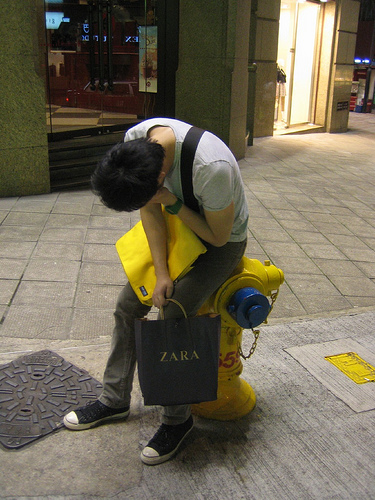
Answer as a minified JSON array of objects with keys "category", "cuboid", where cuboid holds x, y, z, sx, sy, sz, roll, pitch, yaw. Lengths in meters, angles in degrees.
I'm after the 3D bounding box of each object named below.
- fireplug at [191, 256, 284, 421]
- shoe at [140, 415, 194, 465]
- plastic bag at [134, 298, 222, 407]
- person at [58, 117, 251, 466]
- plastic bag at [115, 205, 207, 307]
[{"category":"fireplug","cuboid":[0.310,0.391,1.898,0.549,0.728,0.508,0,24,-20]},{"category":"shoe","cuboid":[-0.066,0.753,1.512,0.089,0.125,0.317,11,14,32]},{"category":"plastic bag","cuboid":[-0.038,0.378,1.294,0.294,0.333,0.060,1,13,-11]},{"category":"person","cuboid":[-0.152,0.161,1.441,0.700,1.313,0.797,6,13,10]},{"category":"plastic bag","cuboid":[-0.140,0.038,1.463,0.137,0.400,0.392,9,46,-43]}]
